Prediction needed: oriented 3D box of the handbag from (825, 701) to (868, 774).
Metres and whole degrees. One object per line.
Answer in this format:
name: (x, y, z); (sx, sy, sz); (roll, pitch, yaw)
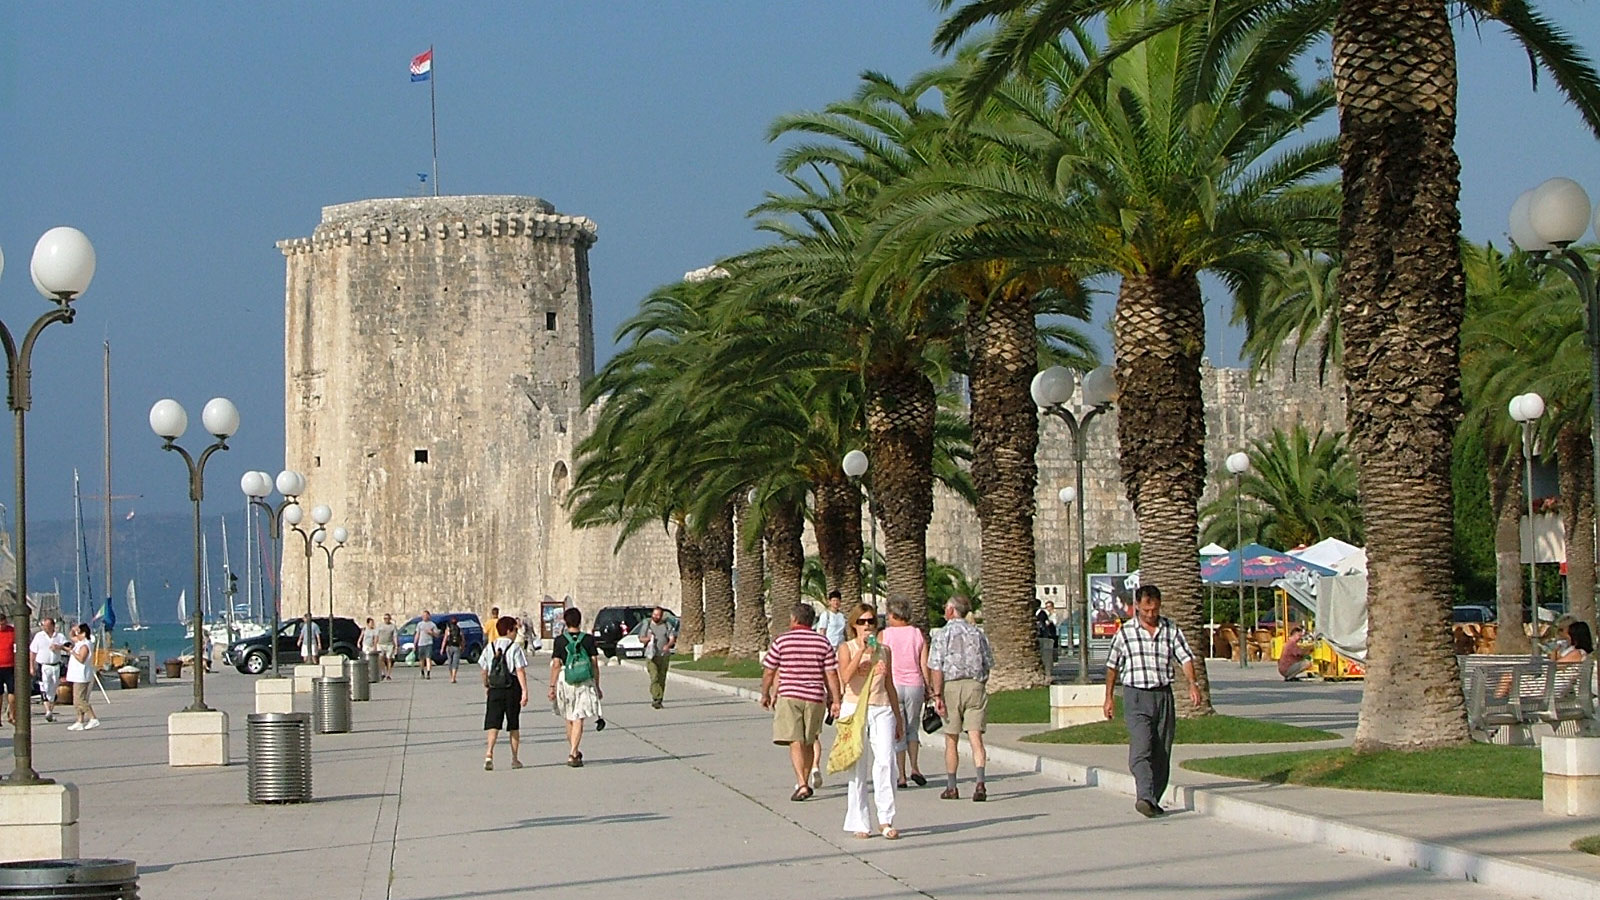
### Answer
handbag: (0.764, 4.598, 45.476); (0.656, 1.078, 0.471); (-3, -9, 0)

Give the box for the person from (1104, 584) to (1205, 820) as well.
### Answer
person: (5.680, 4.044, 46.044); (1.401, 3.752, 0.905); (-5, -9, 11)

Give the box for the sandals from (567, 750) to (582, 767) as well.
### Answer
sandals: (-4.035, 5.562, 51.152); (0.159, 0.185, 0.448); (1, 4, 12)

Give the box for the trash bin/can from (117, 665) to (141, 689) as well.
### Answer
trash bin/can: (-17.509, 5.915, 73.990); (0.697, 0.524, 0.653); (0, -6, 10)

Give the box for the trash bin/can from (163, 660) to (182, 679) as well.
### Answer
trash bin/can: (-18.281, 6.450, 83.707); (0.667, 0.523, 0.633); (6, -14, -29)

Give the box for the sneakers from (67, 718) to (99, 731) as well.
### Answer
sneakers: (-14.794, 5.725, 59.115); (0.689, 0.253, 0.235); (1, -3, -2)

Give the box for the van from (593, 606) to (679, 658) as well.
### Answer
van: (-5.562, 6.116, 89.873); (2.157, 1.502, 4.194); (0, 4, 14)

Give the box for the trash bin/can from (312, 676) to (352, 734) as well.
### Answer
trash bin/can: (-9.353, 5.135, 57.172); (0.692, 1.201, 1.051); (-1, -9, -13)

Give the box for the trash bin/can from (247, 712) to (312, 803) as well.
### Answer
trash bin/can: (-8.635, 5.137, 47.343); (1.009, 1.517, 0.798); (-2, -9, -11)

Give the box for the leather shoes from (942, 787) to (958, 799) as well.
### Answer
leather shoes: (2.445, 5.669, 47.073); (0.284, 0.189, 0.395); (-3, -8, 2)

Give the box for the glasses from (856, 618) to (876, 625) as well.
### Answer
glasses: (1.060, 2.777, 45.975); (0.378, 0.107, 0.167); (1, -9, -23)
